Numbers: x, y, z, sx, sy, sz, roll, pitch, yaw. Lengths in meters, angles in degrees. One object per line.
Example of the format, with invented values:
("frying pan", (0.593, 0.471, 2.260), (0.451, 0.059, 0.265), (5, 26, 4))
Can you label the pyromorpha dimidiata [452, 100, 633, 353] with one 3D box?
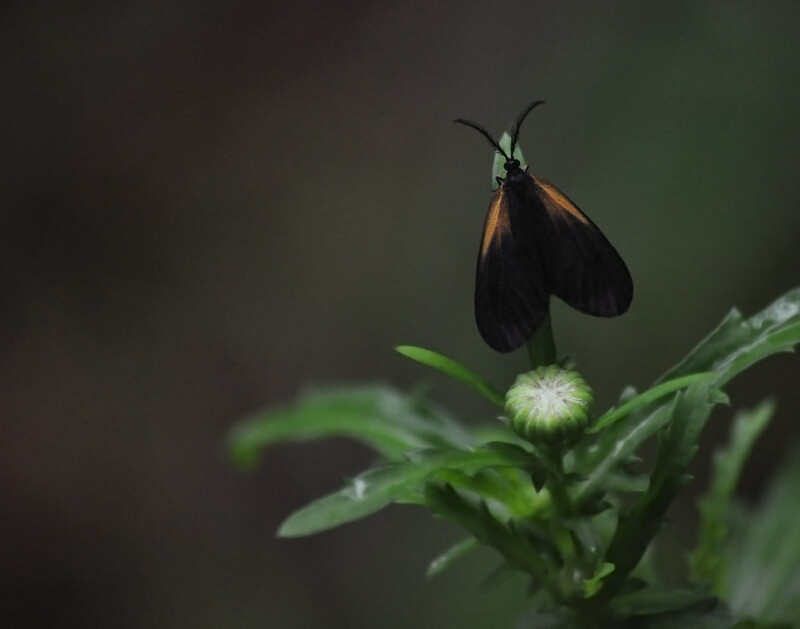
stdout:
("pyromorpha dimidiata", (0.278, -0.118, 1.629), (0.322, 0.548, 0.106), (-13, 6, 0))

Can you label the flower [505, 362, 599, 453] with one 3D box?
("flower", (0.294, 0.181, 1.609), (0.161, 0.189, 0.098), (13, -43, 20))
